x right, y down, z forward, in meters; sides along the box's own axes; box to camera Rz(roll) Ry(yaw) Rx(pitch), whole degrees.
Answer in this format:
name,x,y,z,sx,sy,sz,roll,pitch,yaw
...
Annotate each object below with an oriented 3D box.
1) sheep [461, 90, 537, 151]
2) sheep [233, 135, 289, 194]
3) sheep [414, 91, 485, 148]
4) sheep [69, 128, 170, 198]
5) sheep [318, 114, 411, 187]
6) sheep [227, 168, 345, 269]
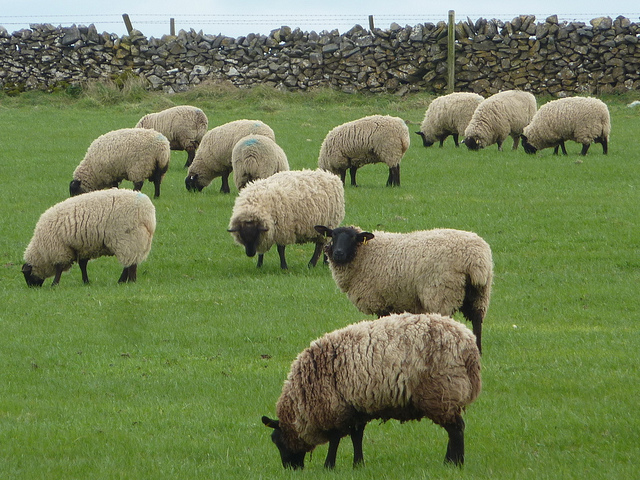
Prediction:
name,x,y,z,sx,sy,sz,roll,pitch,yaw
sheep,5.886,-3.731,33.233,3.179,2.049,1.266,-17,18,-33
sheep,-1.766,-2.220,28.315,0.989,1.615,2.244,0,8,13
sheep,4.516,-4.009,34.432,2.707,2.146,1.345,3,19,39
sheep,-5.637,-2.179,29.022,2.659,1.932,1.037,-2,12,-10
sheep,1.237,-2.611,30.028,2.750,2.340,1.380,4,11,23
sheep,-0.789,-0.534,24.770,3.038,2.650,1.637,-8,23,-36
